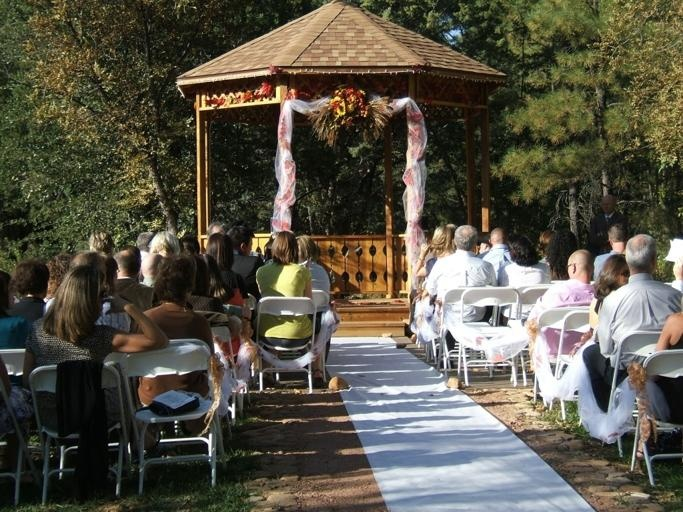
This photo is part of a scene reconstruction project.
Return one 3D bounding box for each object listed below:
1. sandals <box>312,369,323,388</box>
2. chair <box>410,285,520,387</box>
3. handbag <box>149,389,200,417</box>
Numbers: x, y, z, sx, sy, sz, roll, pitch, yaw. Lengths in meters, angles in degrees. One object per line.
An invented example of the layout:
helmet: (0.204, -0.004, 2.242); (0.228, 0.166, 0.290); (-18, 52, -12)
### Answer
sandals: (-0.267, 1.398, 9.291); (0.113, 0.170, 0.063); (-1, 4, -2)
chair: (1.391, 0.852, 9.198); (0.713, 1.183, 1.199); (-1, 2, 0)
handbag: (-1.323, 1.180, 6.576); (0.378, 0.142, 0.255); (-6, 11, -31)
